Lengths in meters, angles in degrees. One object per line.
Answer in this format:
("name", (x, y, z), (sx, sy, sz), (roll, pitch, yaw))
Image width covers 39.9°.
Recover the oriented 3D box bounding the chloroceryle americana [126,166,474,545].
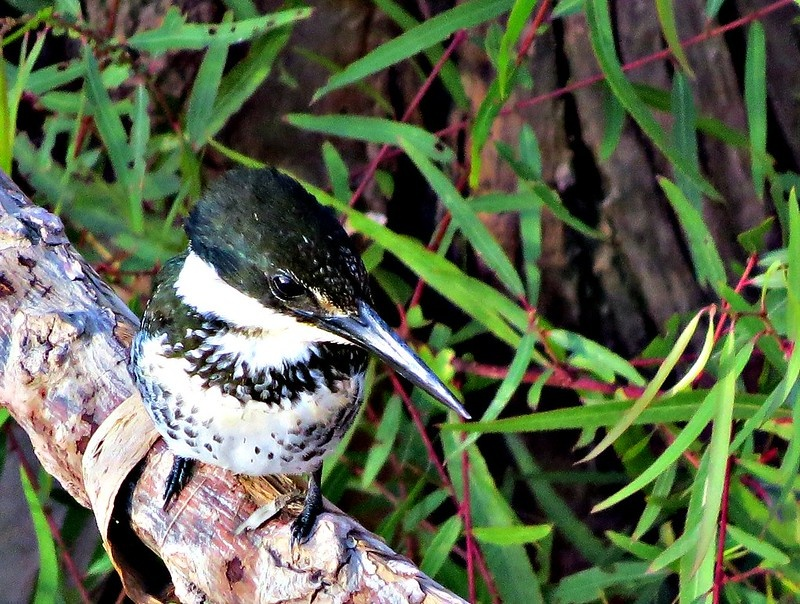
("chloroceryle americana", (-0.315, -0.020, 2.770), (0.460, 1.125, 0.908), (1, -66, -35))
